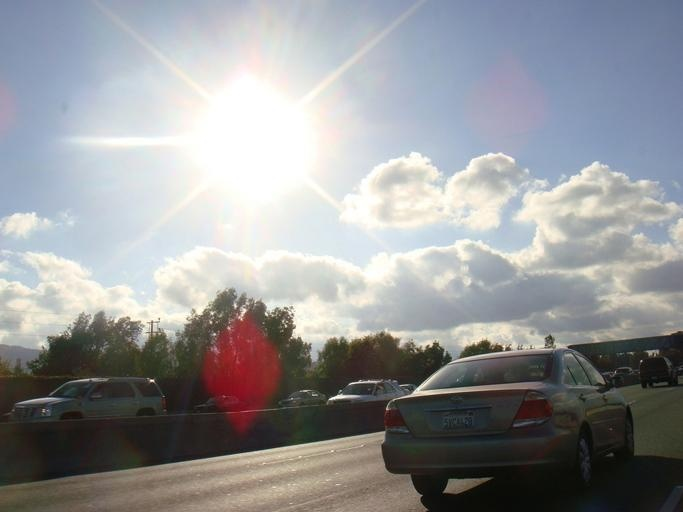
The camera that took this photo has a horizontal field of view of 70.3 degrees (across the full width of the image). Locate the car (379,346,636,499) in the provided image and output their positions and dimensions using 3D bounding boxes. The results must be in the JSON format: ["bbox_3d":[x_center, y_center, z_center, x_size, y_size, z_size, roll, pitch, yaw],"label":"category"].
[{"bbox_3d":[2.701,2.423,7.391,4.069,2.047,1.912,9,-21,-33],"label":"car"}]

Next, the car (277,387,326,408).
[{"bbox_3d":[-3.240,12.046,41.392,2.983,1.420,4.286,-8,-20,10],"label":"car"}]
